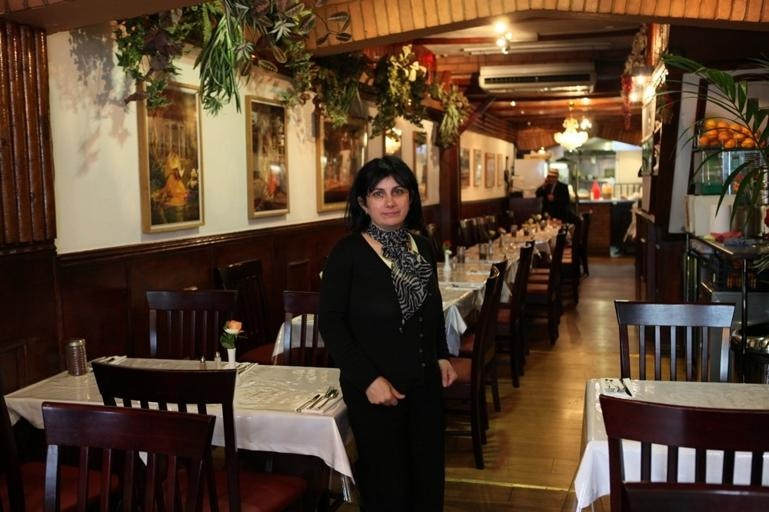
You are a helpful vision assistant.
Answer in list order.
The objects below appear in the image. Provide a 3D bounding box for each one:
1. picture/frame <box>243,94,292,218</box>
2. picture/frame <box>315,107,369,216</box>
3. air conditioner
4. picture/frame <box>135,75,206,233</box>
[{"bbox_3d":[-1.237,-1.020,6.251,0.165,1.225,0.765,-1,8,15],"label":"picture/frame"},{"bbox_3d":[-0.552,-1.219,7.749,0.064,1.131,1.268,4,9,23],"label":"picture/frame"},{"bbox_3d":[2.597,-3.069,10.130,1.888,0.457,0.606,-1,8,15],"label":"air conditioner"},{"bbox_3d":[-1.805,-0.834,4.992,0.076,1.233,0.730,1,8,24],"label":"picture/frame"}]
